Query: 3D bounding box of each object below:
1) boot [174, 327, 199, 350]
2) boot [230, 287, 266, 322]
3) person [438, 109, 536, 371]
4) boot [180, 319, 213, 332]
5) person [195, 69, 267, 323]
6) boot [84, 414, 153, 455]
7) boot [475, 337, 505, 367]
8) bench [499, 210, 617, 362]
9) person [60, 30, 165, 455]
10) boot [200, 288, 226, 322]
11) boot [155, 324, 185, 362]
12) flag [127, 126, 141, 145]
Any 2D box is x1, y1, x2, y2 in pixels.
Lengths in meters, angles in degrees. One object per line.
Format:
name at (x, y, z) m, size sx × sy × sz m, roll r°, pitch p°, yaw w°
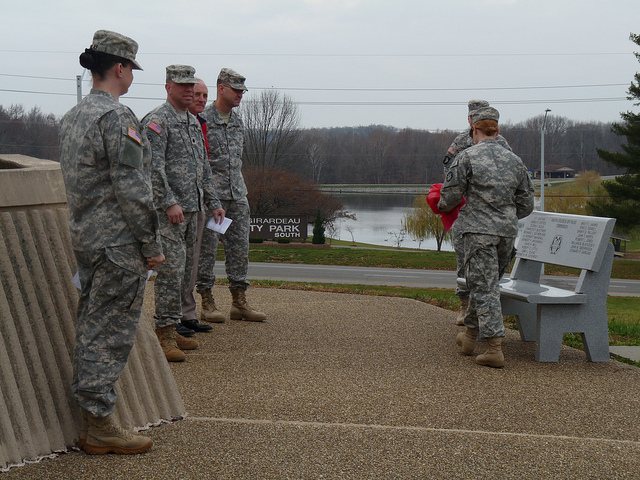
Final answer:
boot at (-1.277, 0.978, 5.948) m, size 0.320 × 0.230 × 0.121 m, roll 0°, pitch 2°, yaw -8°
boot at (-0.773, 0.763, 7.034) m, size 0.552 × 0.461 × 0.234 m, roll 2°, pitch 4°, yaw 5°
person at (1.595, -0.053, 5.922) m, size 0.851 × 2.439 × 0.992 m, roll 4°, pitch 7°, yaw 18°
boot at (-1.318, 0.899, 6.524) m, size 0.338 × 0.134 × 0.114 m, roll 5°, pitch 7°, yaw -10°
person at (-1.028, -0.460, 6.910) m, size 0.709 × 2.824 × 1.217 m, roll 1°, pitch 7°, yaw -10°
boot at (-1.257, 1.197, 3.861) m, size 0.433 × 0.299 × 0.169 m, roll 1°, pitch 1°, yaw -16°
boot at (1.574, 1.026, 5.701) m, size 0.283 × 0.294 × 0.149 m, roll -4°, pitch -7°, yaw 43°
bench at (2.377, 0.450, 6.801) m, size 0.869 × 1.373 × 1.995 m, roll 0°, pitch 3°, yaw -4°
person at (-1.288, 0.006, 3.816) m, size 0.569 × 2.581 × 0.528 m, roll -1°, pitch 7°, yaw -25°
boot at (-1.239, 0.745, 6.985) m, size 0.162 × 0.362 × 0.478 m, roll -3°, pitch 6°, yaw -34°
boot at (-1.364, 0.918, 5.566) m, size 0.215 × 0.271 × 0.400 m, roll 0°, pitch 7°, yaw -20°
flag at (-1.126, -0.633, 3.710) m, size 0.032 × 0.094 × 0.093 m, roll 7°, pitch 8°, yaw 35°
